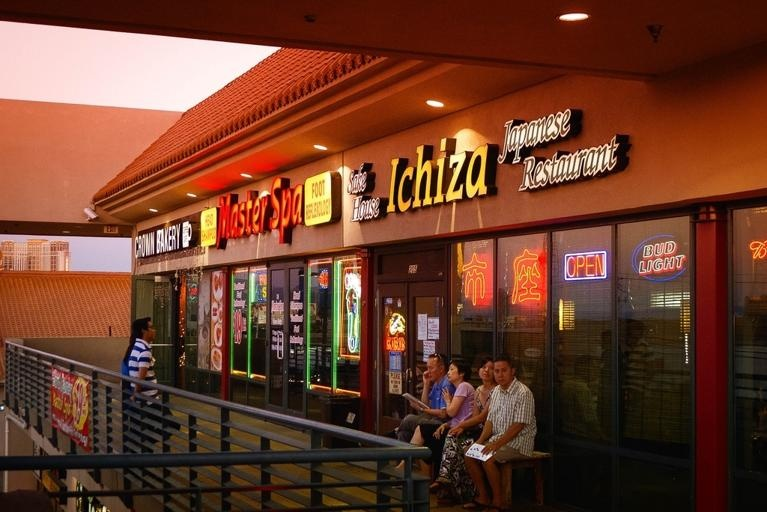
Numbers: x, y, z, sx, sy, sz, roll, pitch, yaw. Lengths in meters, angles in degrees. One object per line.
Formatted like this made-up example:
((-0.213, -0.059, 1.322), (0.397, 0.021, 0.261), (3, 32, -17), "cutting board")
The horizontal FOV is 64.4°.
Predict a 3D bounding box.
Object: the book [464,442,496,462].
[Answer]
((1.274, 2.639, 8.177), (0.299, 0.211, 0.073), (-10, -32, 45), "book")

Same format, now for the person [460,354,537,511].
((1.627, 2.432, 8.369), (0.929, 2.049, 0.493), (3, -7, -17), "person")

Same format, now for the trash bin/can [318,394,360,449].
((-0.833, 3.224, 11.992), (0.776, 0.900, 1.366), (2, -7, -10), "trash bin/can")

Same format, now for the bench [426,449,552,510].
((1.773, 3.009, 8.542), (1.041, 0.678, 1.082), (8, -16, -35), "bench")
